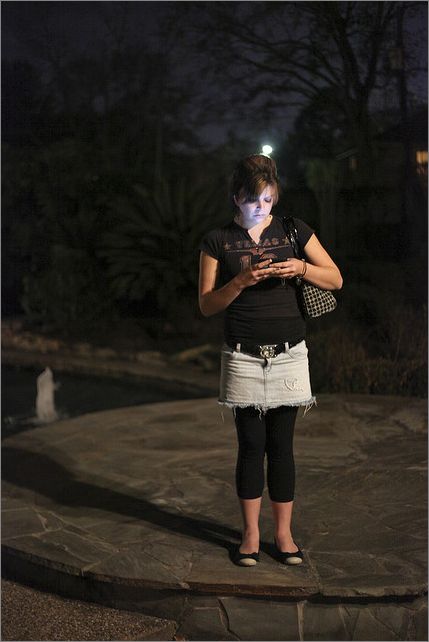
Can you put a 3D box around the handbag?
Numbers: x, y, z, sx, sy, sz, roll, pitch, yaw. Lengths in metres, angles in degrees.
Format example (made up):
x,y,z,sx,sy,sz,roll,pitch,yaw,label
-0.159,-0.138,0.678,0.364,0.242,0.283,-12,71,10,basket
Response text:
x,y,z,sx,sy,sz,roll,pitch,yaw,label
0.400,-0.210,2.757,0.193,0.451,0.335,4,16,37,handbag

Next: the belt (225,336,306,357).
x,y,z,sx,sy,sz,roll,pitch,yaw,label
0.203,0.113,2.692,0.291,0.069,0.074,-4,12,2,belt

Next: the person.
x,y,z,sx,sy,sz,roll,pitch,yaw,label
0.250,0.194,2.753,0.560,1.734,0.401,-6,13,-1,person
